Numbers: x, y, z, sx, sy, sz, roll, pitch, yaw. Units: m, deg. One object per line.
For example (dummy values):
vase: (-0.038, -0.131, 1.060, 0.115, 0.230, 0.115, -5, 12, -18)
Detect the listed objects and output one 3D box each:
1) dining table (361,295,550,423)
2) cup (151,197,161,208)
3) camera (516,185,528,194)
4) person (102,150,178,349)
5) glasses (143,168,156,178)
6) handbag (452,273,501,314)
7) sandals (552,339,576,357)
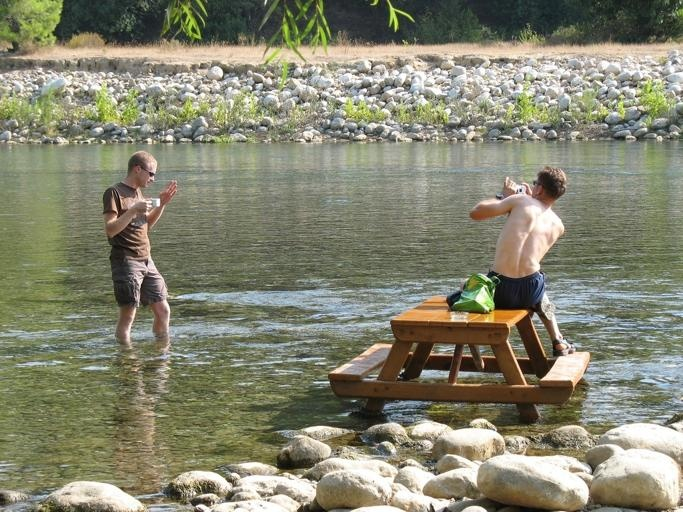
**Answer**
dining table: (1.227, 0.970, 12.147, 1.565, 0.620, 1.425, 0, 3, 8)
cup: (-2.054, -0.586, 13.520, 0.197, 0.110, 0.098, -1, 7, -20)
camera: (1.890, -0.694, 12.800, 0.105, 0.114, 0.127, 8, 16, 11)
person: (-2.284, -0.099, 13.834, 0.749, 2.175, 1.089, -1, 5, -10)
glasses: (-2.164, -0.935, 13.714, 0.128, 0.036, 0.129, 33, 9, 22)
handbag: (1.378, 0.398, 12.314, 0.431, 0.218, 0.409, 3, 40, 17)
sandals: (2.281, 0.961, 12.573, 0.129, 0.152, 0.285, 2, 8, 43)
